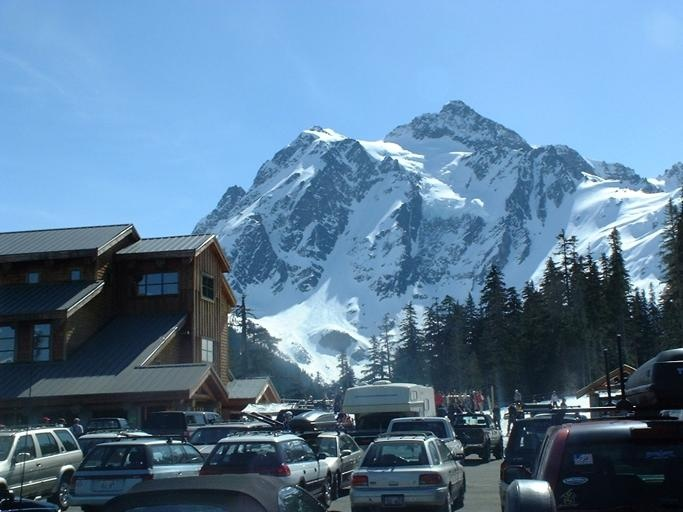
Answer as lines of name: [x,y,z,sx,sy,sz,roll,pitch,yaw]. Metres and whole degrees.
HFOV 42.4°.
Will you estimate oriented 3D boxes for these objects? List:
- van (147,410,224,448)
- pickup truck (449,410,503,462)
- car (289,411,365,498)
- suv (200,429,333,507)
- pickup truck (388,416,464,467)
van: [-5.584,6.306,31.131,1.661,1.116,3.035,-2,-2,30]
pickup truck: [5.236,7.045,34.430,1.347,1.076,2.755,-3,-5,19]
car: [-0.235,5.843,25.949,2.138,1.513,4.353,-1,-1,19]
suv: [-1.620,5.084,21.603,2.089,1.700,4.249,-3,-5,20]
pickup truck: [2.637,5.827,28.115,2.006,1.486,3.659,-7,-23,13]
